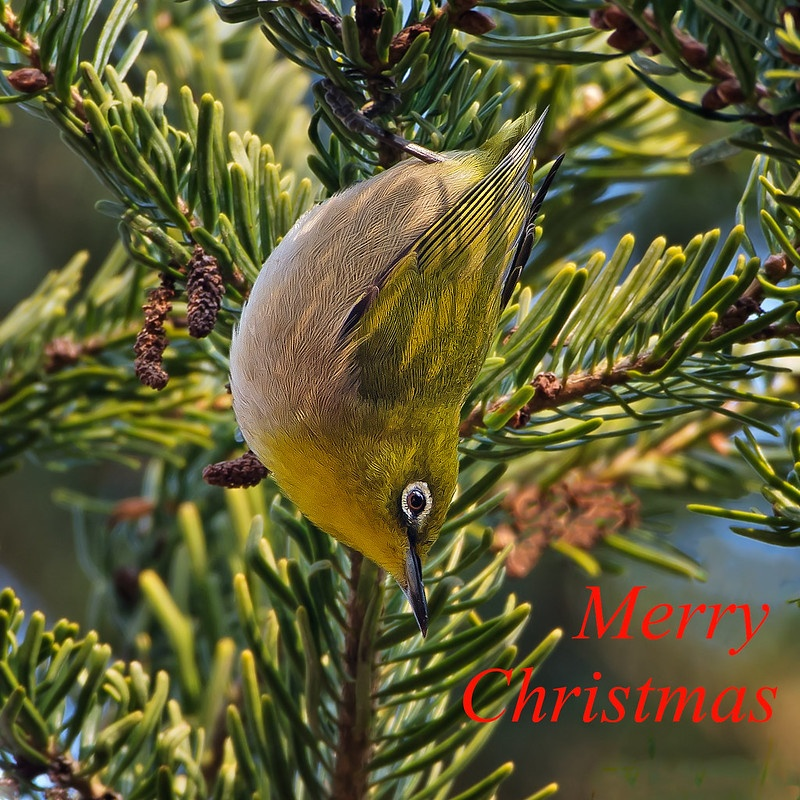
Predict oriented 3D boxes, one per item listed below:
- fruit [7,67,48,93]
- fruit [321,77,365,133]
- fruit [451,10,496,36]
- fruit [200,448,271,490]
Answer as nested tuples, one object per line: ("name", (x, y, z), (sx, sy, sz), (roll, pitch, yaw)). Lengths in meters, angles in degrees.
("fruit", (-0.775, -0.675, 2.446), (0.066, 0.041, 0.052), (2, 86, -22))
("fruit", (-0.114, -0.606, 2.421), (0.042, 0.142, 0.042), (-31, 48, 5))
("fruit", (0.148, -0.754, 2.320), (0.088, 0.058, 0.032), (19, 35, 25))
("fruit", (-0.366, 0.147, 2.568), (0.134, 0.057, 0.065), (-24, 43, -33))
